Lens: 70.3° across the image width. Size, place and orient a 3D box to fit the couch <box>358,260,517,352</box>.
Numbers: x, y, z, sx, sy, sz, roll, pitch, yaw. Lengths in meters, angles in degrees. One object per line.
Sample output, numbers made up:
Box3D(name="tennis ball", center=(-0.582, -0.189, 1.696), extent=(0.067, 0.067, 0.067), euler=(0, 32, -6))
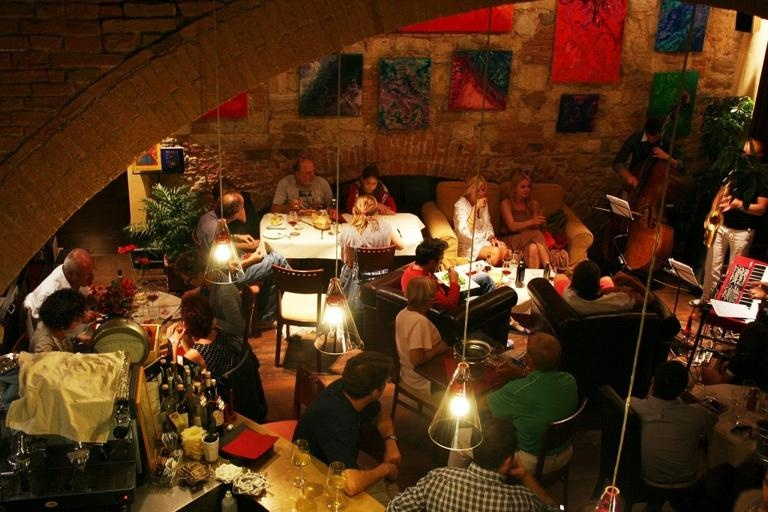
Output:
Box3D(name="couch", center=(0.539, 0.602, 6.016), extent=(1.516, 0.906, 1.167), euler=(12, 8, 31))

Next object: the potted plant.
Box3D(name="potted plant", center=(-2.701, -0.040, 7.315), extent=(0.938, 1.173, 0.819), euler=(-7, -6, 20))

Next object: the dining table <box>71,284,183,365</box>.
Box3D(name="dining table", center=(-2.106, 0.537, 4.724), extent=(0.843, 0.768, 0.216), euler=(10, 6, -21))

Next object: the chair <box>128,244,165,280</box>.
Box3D(name="chair", center=(-3.241, 0.089, 7.387), extent=(0.372, 0.332, 0.412), euler=(-6, -25, -18))

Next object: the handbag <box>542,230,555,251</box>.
Box3D(name="handbag", center=(2.297, -0.223, 7.755), extent=(0.084, 0.228, 0.233), euler=(-22, -5, 32))

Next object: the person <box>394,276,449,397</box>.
Box3D(name="person", center=(0.353, 0.773, 5.035), extent=(0.472, 1.218, 0.553), euler=(-25, 45, -23))

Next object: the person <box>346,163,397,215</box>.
Box3D(name="person", center=(-0.215, -0.868, 7.664), extent=(0.751, 0.747, 0.904), euler=(-5, 11, -30))

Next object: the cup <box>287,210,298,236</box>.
Box3D(name="cup", center=(-1.218, -0.415, 7.128), extent=(0.176, 0.371, 0.190), euler=(0, 43, 0))

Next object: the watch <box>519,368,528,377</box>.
Box3D(name="watch", center=(1.236, 1.034, 4.804), extent=(0.077, 0.066, 0.067), euler=(-2, -30, 34))

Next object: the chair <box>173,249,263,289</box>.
Box3D(name="chair", center=(-1.655, 0.124, 5.776), extent=(0.559, 0.482, 1.118), euler=(-16, -7, 9))

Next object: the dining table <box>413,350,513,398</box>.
Box3D(name="dining table", center=(0.725, 0.990, 4.775), extent=(0.533, 0.319, 0.520), euler=(-19, 53, -15))

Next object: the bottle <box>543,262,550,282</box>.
Box3D(name="bottle", center=(1.916, 0.192, 6.398), extent=(0.060, 0.220, 0.086), euler=(9, -13, -14))

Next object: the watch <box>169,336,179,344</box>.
Box3D(name="watch", center=(-1.870, 0.745, 4.780), extent=(0.054, 0.058, 0.060), euler=(11, 36, -2))

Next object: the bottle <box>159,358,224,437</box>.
Box3D(name="bottle", center=(-1.358, 1.002, 3.759), extent=(0.351, 0.584, 0.370), euler=(3, 45, -3))

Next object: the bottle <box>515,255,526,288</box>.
Box3D(name="bottle", center=(1.599, 0.195, 6.386), extent=(0.115, 0.438, 0.113), euler=(-2, 47, 2))

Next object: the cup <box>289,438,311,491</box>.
Box3D(name="cup", center=(-0.551, 1.345, 3.543), extent=(0.134, 0.297, 0.124), euler=(1, 7, 0))

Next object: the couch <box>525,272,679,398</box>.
Box3D(name="couch", center=(2.515, 0.916, 5.899), extent=(1.171, 1.154, 1.105), euler=(2, 25, 29))

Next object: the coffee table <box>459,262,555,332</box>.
Box3D(name="coffee table", center=(1.317, 0.312, 6.183), extent=(0.912, 0.561, 0.897), euler=(1, 32, 2))

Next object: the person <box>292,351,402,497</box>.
Box3D(name="person", center=(-0.191, 1.249, 3.883), extent=(0.729, 1.045, 0.795), euler=(14, 18, 9))

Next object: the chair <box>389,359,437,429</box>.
Box3D(name="chair", center=(0.278, 1.309, 5.118), extent=(0.436, 0.730, 0.419), euler=(25, 60, 19))

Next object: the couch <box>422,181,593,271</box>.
Box3D(name="couch", center=(1.816, -0.369, 8.688), extent=(2.457, 1.496, 1.368), euler=(3, -8, 13))

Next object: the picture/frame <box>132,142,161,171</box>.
Box3D(name="picture/frame", center=(-3.273, -1.314, 7.384), extent=(0.424, 0.370, 0.268), euler=(-6, 15, -13))

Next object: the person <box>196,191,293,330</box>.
Box3D(name="person", center=(-1.484, 0.091, 5.819), extent=(1.047, 1.573, 0.664), euler=(-17, 55, -13))

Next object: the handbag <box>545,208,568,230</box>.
Box3D(name="handbag", center=(2.555, -0.516, 8.100), extent=(0.310, 0.123, 0.299), euler=(-26, 50, 23))

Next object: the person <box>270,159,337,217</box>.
Box3D(name="person", center=(-1.123, -0.902, 7.686), extent=(1.021, 0.870, 0.666), euler=(-8, 35, -21))

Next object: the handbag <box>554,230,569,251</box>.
Box3D(name="handbag", center=(2.568, -0.229, 7.902), extent=(0.229, 0.227, 0.076), euler=(-19, -41, 42))
